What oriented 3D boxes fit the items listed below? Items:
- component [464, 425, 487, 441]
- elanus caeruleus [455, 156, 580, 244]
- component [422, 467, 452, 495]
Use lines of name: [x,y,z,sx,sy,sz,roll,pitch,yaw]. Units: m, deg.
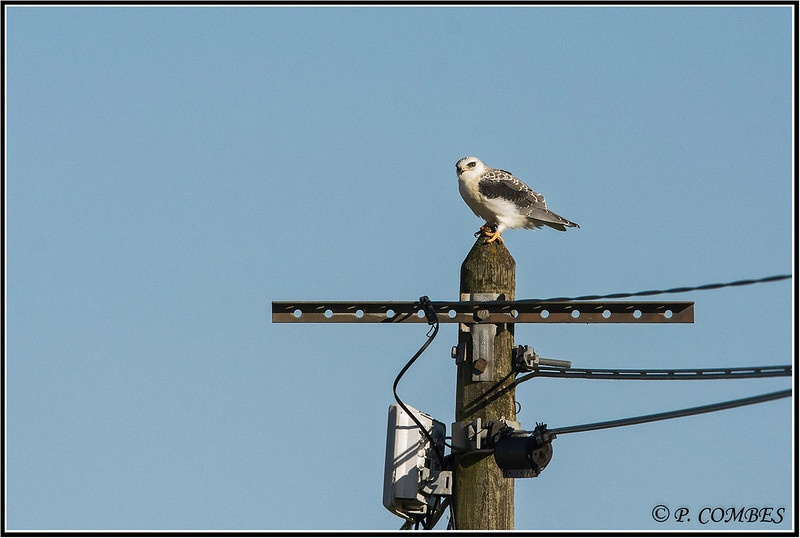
component: [0.852,1.896,23.155,0.176,0.188,0.113,-3,5,-1]
elanus caeruleus: [1.468,-0.996,26.768,1.969,1.093,0.696,1,10,-24]
component: [0.403,2.474,23.263,0.279,0.254,0.100,1,-21,0]
